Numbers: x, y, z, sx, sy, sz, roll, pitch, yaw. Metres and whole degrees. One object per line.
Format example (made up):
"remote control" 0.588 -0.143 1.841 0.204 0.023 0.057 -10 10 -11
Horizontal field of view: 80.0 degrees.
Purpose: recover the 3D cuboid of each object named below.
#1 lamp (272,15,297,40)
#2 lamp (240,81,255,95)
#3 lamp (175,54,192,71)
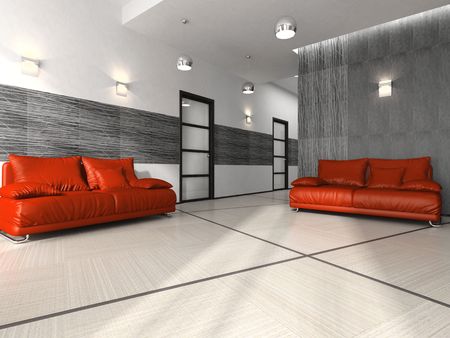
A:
"lamp" 0.873 -1.889 3.716 0.332 0.189 0.307 0 -1 -24
"lamp" 0.537 -1.829 6.025 0.238 0.285 0.456 1 7 9
"lamp" -0.665 -1.720 4.337 0.216 0.225 0.165 1 8 7
